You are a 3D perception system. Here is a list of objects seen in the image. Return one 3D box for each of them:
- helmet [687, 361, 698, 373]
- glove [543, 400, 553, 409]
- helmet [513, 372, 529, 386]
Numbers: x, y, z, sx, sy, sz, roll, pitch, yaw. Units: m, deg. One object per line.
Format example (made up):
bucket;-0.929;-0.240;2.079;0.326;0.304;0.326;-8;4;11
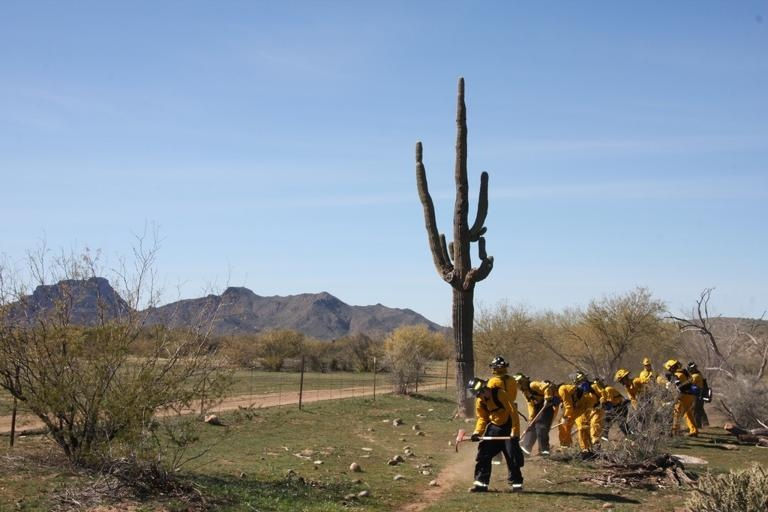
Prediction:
helmet;12.684;4.532;36.006;0.387;0.398;0.357;-4;-16;11
glove;6.029;5.361;32.107;0.342;0.301;0.160;2;-7;-10
helmet;5.145;4.534;32.633;0.438;0.590;0.496;-6;14;1
